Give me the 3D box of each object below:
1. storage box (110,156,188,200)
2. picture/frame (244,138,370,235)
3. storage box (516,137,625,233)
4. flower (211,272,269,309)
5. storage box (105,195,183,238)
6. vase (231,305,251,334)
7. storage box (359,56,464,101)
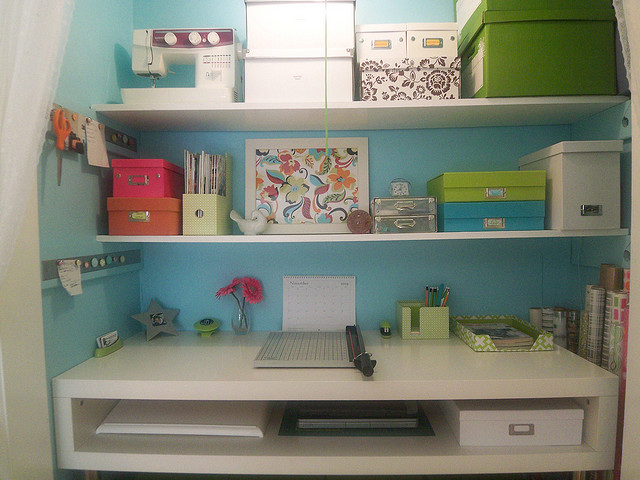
[{"bbox_3d":[-0.775,-0.277,2.614,0.261,0.176,0.346,1,4,12],"label":"storage box"},{"bbox_3d":[-0.055,-0.263,2.681,0.459,0.343,0.020,-1,-2,0],"label":"picture/frame"},{"bbox_3d":[1.136,-0.233,2.550,0.316,0.441,0.590,0,1,3],"label":"storage box"},{"bbox_3d":[-0.403,0.242,2.704,0.188,0.112,0.142,-12,-6,25],"label":"flower"},{"bbox_3d":[-0.788,-0.108,2.439,0.205,0.128,0.212,0,0,2],"label":"storage box"},{"bbox_3d":[-0.388,0.389,2.691,0.121,0.173,0.107,0,-8,-9],"label":"vase"},{"bbox_3d":[0.396,-0.777,2.546,0.431,0.190,0.314,3,31,9],"label":"storage box"}]
